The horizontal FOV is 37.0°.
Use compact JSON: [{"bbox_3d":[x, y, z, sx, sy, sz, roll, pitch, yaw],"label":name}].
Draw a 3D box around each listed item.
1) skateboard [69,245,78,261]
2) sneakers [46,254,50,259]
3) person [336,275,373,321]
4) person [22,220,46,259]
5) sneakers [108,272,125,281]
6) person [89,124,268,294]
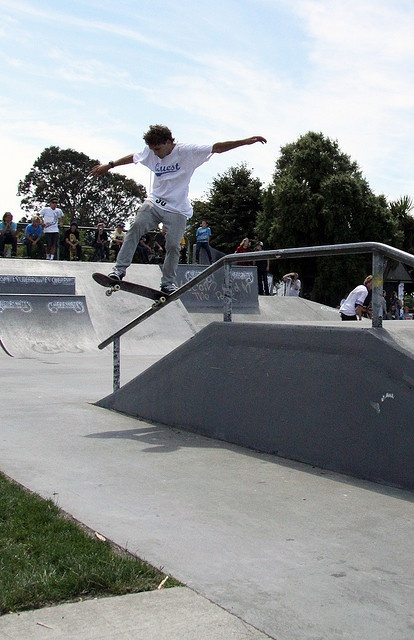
[{"bbox_3d":[-3.286,-1.643,15.257,0.085,0.225,0.311,5,2,28],"label":"skateboard"},{"bbox_3d":[-3.730,-1.465,14.448,0.096,0.156,0.091,-4,13,-19],"label":"sneakers"},{"bbox_3d":[1.879,-0.259,7.994,0.331,0.487,0.845,4,1,12],"label":"person"},{"bbox_3d":[-3.947,-1.871,14.264,0.285,0.933,0.534,6,2,41],"label":"person"},{"bbox_3d":[-0.805,-0.381,5.456,0.131,0.073,0.126,-5,8,-12],"label":"sneakers"},{"bbox_3d":[-0.357,-0.946,5.368,1.538,1.281,0.489,8,2,15],"label":"person"}]
